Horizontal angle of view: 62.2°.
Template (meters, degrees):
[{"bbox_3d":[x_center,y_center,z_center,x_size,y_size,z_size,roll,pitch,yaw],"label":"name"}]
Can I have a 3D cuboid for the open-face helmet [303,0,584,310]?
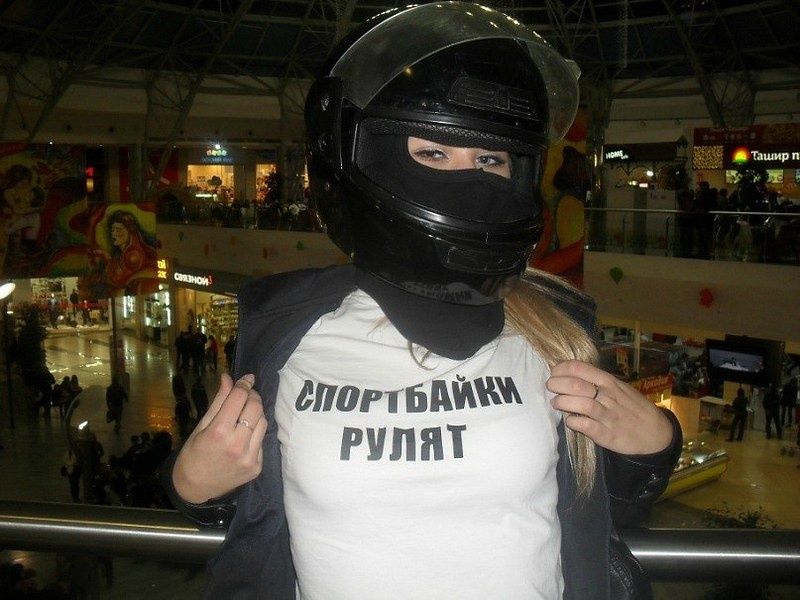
[{"bbox_3d":[0.094,-0.415,1.868,0.559,0.702,0.766,-1,14,-24],"label":"open-face helmet"}]

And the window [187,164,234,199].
[{"bbox_3d":[-8.162,-5.308,29.069,2.199,1.511,2.225,-3,5,-30],"label":"window"}]
